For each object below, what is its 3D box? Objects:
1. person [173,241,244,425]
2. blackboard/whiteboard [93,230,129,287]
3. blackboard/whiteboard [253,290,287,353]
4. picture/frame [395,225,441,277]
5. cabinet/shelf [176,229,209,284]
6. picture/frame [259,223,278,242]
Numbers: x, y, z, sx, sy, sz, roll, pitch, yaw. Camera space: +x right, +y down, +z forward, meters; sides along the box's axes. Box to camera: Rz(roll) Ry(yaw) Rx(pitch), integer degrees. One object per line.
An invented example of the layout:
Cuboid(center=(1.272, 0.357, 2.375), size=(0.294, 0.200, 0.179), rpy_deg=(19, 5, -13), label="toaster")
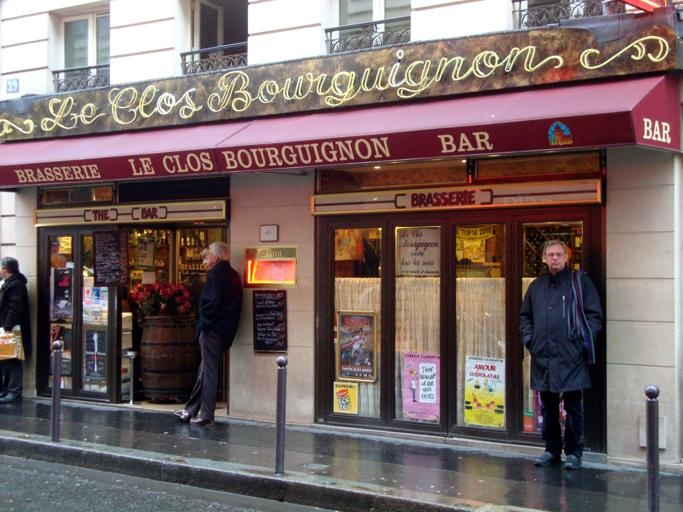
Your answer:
Cuboid(center=(-1.867, 1.042, 11.429), size=(0.966, 2.331, 0.831), rpy_deg=(0, -1, 16), label="person")
Cuboid(center=(-3.473, 0.015, 12.494), size=(0.501, 0.821, 0.160), rpy_deg=(0, 5, 17), label="blackboard/whiteboard")
Cuboid(center=(-0.974, 0.874, 11.474), size=(0.538, 0.851, 0.078), rpy_deg=(-2, -1, 24), label="blackboard/whiteboard")
Cuboid(center=(1.013, -0.085, 10.714), size=(0.657, 0.666, 0.064), rpy_deg=(0, 4, 25), label="picture/frame")
Cuboid(center=(-2.315, -0.068, 13.260), size=(0.506, 1.058, 0.440), rpy_deg=(2, 4, 19), label="cabinet/shelf")
Cuboid(center=(-0.994, -0.333, 11.488), size=(0.246, 0.213, 0.033), rpy_deg=(0, 4, 24), label="picture/frame")
